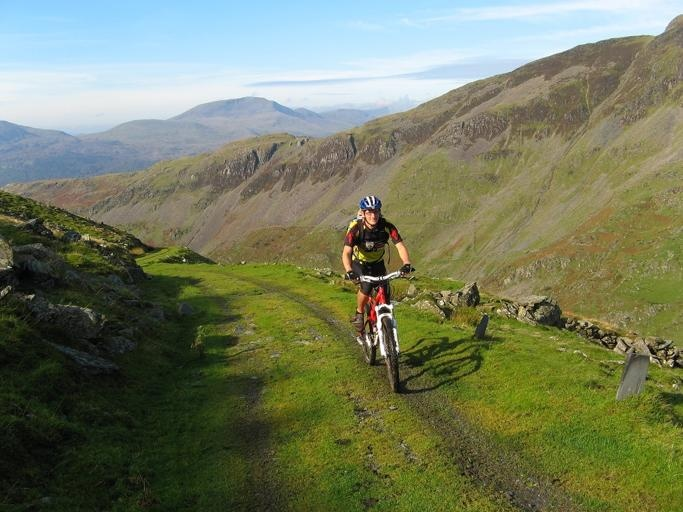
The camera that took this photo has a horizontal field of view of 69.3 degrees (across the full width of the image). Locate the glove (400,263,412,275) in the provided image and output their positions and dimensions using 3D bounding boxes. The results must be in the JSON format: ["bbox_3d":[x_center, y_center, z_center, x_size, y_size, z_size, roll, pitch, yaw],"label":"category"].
[{"bbox_3d":[2.216,0.471,16.933,0.492,0.234,0.601,0,6,8],"label":"glove"}]
